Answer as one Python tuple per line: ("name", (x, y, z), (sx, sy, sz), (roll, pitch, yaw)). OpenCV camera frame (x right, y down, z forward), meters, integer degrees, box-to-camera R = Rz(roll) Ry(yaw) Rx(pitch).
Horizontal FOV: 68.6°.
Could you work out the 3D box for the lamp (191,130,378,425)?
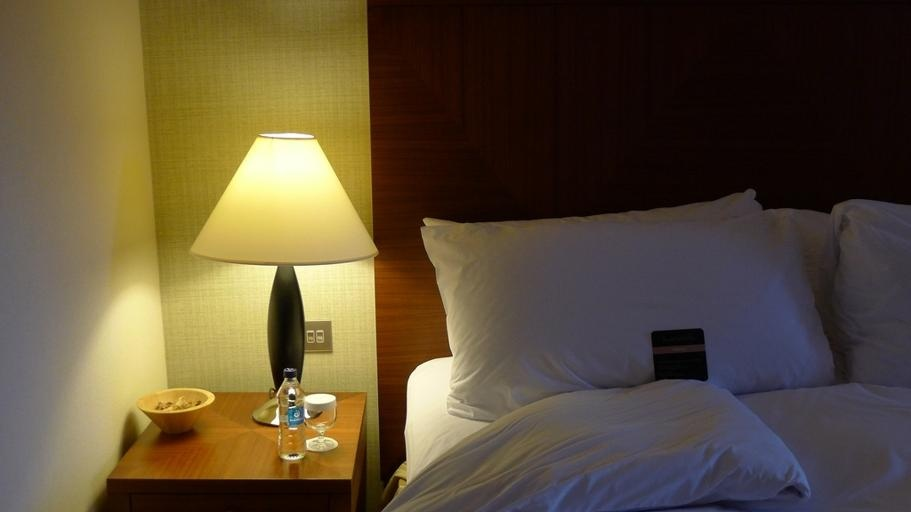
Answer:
("lamp", (-0.648, -0.005, 2.546), (0.684, 1.018, 0.265), (-1, -7, -7))
